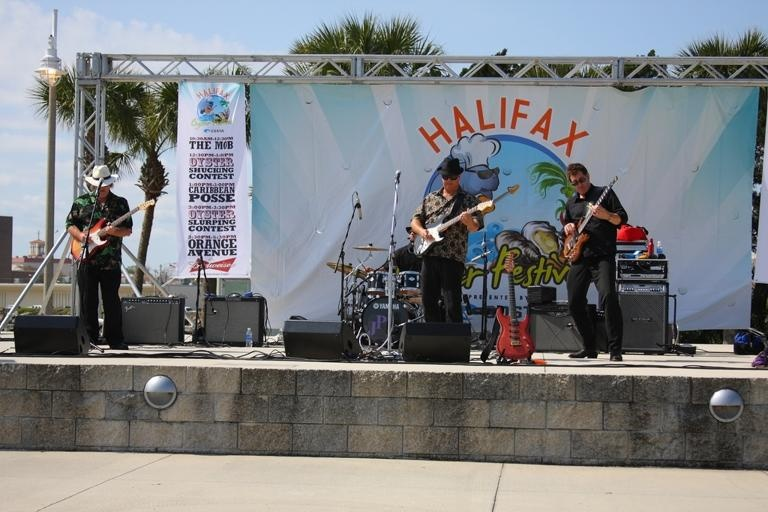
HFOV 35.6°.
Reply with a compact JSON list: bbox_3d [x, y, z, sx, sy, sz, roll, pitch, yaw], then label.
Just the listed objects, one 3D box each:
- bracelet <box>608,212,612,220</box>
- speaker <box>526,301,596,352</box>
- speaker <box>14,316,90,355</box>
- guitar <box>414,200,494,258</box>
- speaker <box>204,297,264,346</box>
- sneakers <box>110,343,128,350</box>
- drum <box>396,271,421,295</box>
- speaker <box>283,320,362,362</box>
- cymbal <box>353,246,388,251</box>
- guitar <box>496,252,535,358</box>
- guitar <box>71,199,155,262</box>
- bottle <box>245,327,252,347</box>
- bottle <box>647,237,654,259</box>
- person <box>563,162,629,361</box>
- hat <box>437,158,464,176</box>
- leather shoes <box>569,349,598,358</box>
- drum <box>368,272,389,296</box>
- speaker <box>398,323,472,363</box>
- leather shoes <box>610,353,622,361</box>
[{"bbox_3d":[2.629,-0.453,14.001,0.038,0.078,0.017,4,-4,-42],"label":"bracelet"},{"bbox_3d":[2.241,0.911,15.204,0.902,0.866,0.612,0,1,10],"label":"speaker"},{"bbox_3d":[-3.704,0.901,13.279,0.605,0.400,0.471,1,3,4],"label":"speaker"},{"bbox_3d":[0.772,-0.309,13.578,0.874,0.629,0.428,1,-3,7],"label":"guitar"},{"bbox_3d":[-1.929,0.824,15.685,0.948,0.857,0.559,1,3,1],"label":"speaker"},{"bbox_3d":[-3.191,1.110,14.490,0.230,0.105,0.078,-1,-5,3],"label":"sneakers"},{"bbox_3d":[0.304,0.362,15.599,0.274,0.205,0.279,1,-3,0],"label":"drum"},{"bbox_3d":[-0.699,0.955,13.333,0.840,0.434,0.384,2,-3,-3],"label":"speaker"},{"bbox_3d":[-0.184,-0.096,16.397,0.483,0.079,0.656,2,-3,-1],"label":"cymbal"},{"bbox_3d":[1.476,0.599,13.542,0.423,1.227,0.427,1,-3,5],"label":"guitar"},{"bbox_3d":[-3.358,-0.277,14.516,0.902,0.704,0.296,1,-3,8],"label":"guitar"},{"bbox_3d":[-1.737,1.053,15.405,0.132,0.242,0.095,1,-3,12],"label":"bottle"},{"bbox_3d":[3.367,-0.085,15.238,0.084,0.256,0.423,1,-3,12],"label":"bottle"},{"bbox_3d":[2.464,0.081,14.185,0.749,2.317,0.512,0,-3,20],"label":"person"},{"bbox_3d":[0.773,-1.060,14.363,0.321,0.147,0.380,3,27,2],"label":"hat"},{"bbox_3d":[2.365,1.196,14.304,0.341,0.148,0.126,3,-5,14],"label":"leather shoes"},{"bbox_3d":[-0.098,0.376,15.802,0.244,0.348,0.298,2,-3,-3],"label":"drum"},{"bbox_3d":[0.570,0.960,13.006,0.606,0.382,0.465,1,-8,-5],"label":"speaker"},{"bbox_3d":[2.668,1.188,13.849,0.121,0.083,0.146,1,-3,4],"label":"leather shoes"}]
